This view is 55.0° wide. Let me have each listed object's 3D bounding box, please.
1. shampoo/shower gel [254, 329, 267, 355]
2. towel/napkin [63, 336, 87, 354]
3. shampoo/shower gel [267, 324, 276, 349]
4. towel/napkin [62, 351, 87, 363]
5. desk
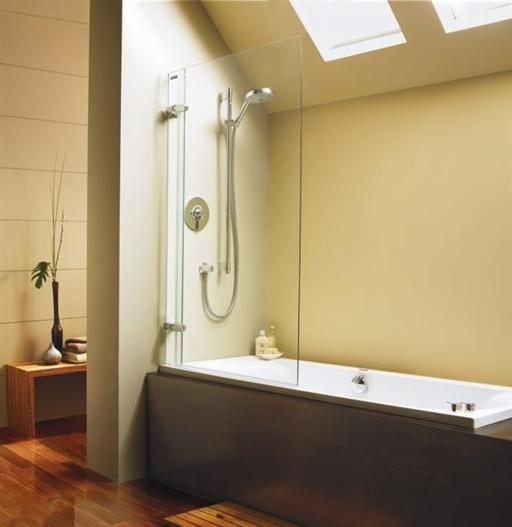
[{"bbox_3d":[0.023,0.379,2.357,0.081,0.091,0.040,-8,7,38],"label":"shampoo/shower gel"},{"bbox_3d":[-1.317,0.599,3.605,0.195,0.071,0.193,1,1,-42],"label":"towel/napkin"},{"bbox_3d":[0.078,0.342,2.302,0.024,0.077,0.060,-13,6,-23],"label":"shampoo/shower gel"},{"bbox_3d":[-1.293,0.672,3.549,0.175,0.058,0.173,6,-5,-38],"label":"towel/napkin"},{"bbox_3d":[-1.493,0.900,3.508,0.532,0.522,0.377,-16,7,-37],"label":"desk"}]
